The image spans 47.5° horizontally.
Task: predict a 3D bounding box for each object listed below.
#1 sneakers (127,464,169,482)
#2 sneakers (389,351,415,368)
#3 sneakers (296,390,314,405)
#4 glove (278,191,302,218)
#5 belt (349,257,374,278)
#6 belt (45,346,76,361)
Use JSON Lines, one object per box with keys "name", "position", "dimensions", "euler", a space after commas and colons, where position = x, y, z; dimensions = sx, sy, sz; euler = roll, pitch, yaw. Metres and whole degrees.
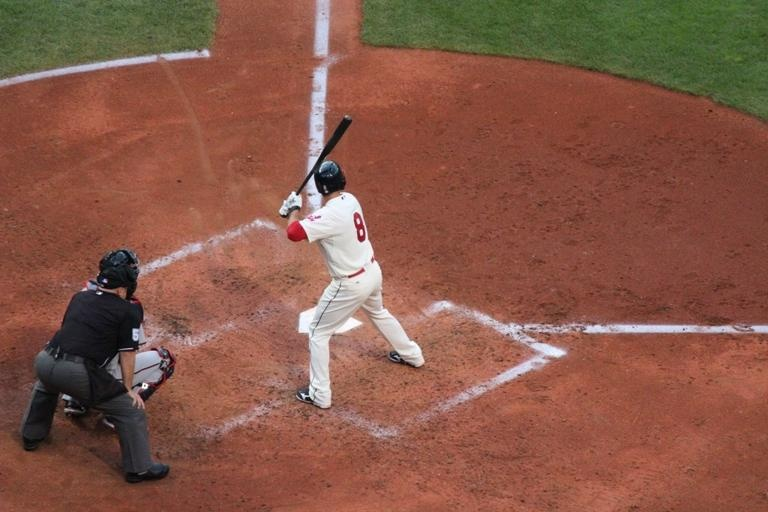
{"name": "sneakers", "position": [-2.921, 2.709, 10.866], "dimensions": [0.492, 0.176, 0.195], "euler": [-10, 31, -15]}
{"name": "sneakers", "position": [0.201, 1.477, 12.556], "dimensions": [0.396, 0.152, 0.152], "euler": [28, 21, 0]}
{"name": "sneakers", "position": [-1.101, 1.907, 11.995], "dimensions": [0.302, 0.115, 0.119], "euler": [24, 40, 12]}
{"name": "glove", "position": [-1.244, -0.684, 11.861], "dimensions": [0.413, 0.150, 0.267], "euler": [-28, 57, 8]}
{"name": "belt", "position": [-0.289, 0.165, 11.688], "dimensions": [0.292, 0.066, 0.281], "euler": [-33, 1, -9]}
{"name": "belt", "position": [-3.954, 1.186, 10.684], "dimensions": [0.197, 0.117, 0.250], "euler": [26, 2, 34]}
